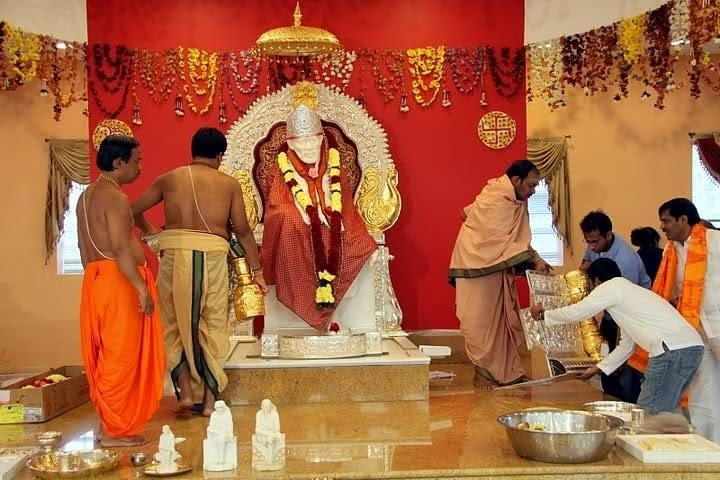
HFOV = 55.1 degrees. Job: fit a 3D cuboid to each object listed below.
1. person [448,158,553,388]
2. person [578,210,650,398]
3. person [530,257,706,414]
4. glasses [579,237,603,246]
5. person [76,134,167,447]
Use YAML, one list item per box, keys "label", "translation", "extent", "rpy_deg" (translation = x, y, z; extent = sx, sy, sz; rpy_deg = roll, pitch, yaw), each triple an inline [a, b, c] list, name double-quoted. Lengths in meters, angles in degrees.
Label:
- label: "person"
  translation: [1.165, 0.267, 5.926]
  extent: [0.787, 1.893, 0.426]
  rpy_deg: [0, 6, 7]
- label: "person"
  translation: [2.108, 0.533, 5.887]
  extent: [0.618, 1.541, 0.610]
  rpy_deg: [2, 15, 37]
- label: "person"
  translation: [1.953, 0.846, 4.959]
  extent: [1.073, 1.495, 0.559]
  rpy_deg: [-8, 4, 38]
- label: "glasses"
  translation: [2.145, 0.008, 6.399]
  extent: [0.118, 0.036, 0.114]
  rpy_deg: [17, -14, -38]
- label: "person"
  translation: [-1.609, 0.332, 4.635]
  extent: [0.529, 2.077, 0.403]
  rpy_deg: [-2, 6, -19]
